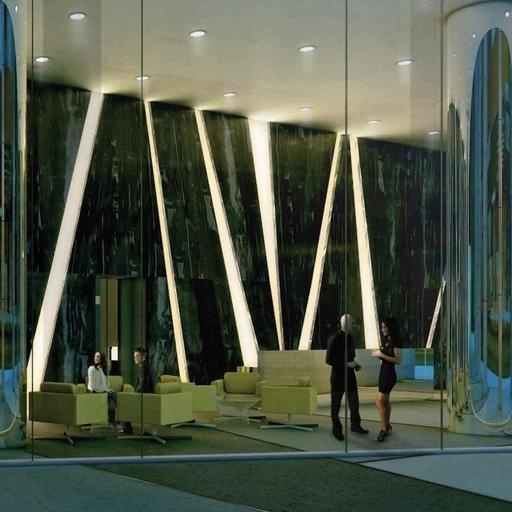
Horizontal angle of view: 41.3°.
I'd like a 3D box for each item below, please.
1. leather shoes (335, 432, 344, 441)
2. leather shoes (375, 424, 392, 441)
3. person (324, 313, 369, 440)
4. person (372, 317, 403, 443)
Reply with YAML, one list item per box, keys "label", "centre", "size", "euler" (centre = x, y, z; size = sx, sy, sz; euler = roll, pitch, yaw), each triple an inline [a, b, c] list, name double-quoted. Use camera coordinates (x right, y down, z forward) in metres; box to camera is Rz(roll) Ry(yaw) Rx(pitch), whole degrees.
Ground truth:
- label: "leather shoes"
  centre: [0.789, 1.770, 6.675]
  size: [0.102, 0.057, 0.043]
  euler: [-1, 0, -20]
- label: "leather shoes"
  centre: [1.231, 1.761, 6.711]
  size: [0.085, 0.222, 0.077]
  euler: [38, -4, -26]
- label: "person"
  centre: [0.844, 1.185, 6.666]
  size: [0.441, 1.229, 0.162]
  euler: [1, -3, -31]
- label: "person"
  centre: [1.246, 1.216, 6.691]
  size: [0.240, 1.210, 0.160]
  euler: [-1, -3, 11]
